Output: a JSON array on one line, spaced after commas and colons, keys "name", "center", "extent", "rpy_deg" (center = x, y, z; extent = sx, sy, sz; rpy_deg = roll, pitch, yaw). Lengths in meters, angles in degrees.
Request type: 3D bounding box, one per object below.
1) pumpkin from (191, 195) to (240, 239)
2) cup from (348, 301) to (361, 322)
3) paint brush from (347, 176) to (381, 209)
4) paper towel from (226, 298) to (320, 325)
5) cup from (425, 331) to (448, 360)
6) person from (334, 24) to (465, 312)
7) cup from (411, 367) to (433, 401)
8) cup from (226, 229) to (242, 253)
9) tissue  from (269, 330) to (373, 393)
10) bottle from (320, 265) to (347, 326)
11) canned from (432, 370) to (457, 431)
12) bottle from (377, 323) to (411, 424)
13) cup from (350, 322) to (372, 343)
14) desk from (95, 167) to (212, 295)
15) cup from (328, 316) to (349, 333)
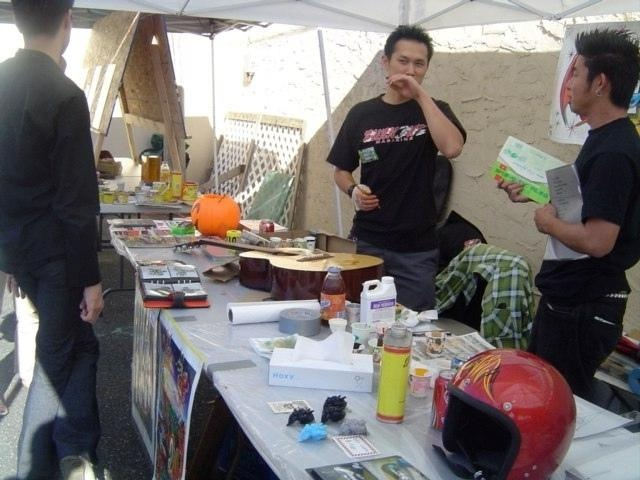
[{"name": "pumpkin", "center": [-0.738, -0.190, 3.298], "extent": [0.298, 0.294, 0.322], "rpy_deg": [-4, 15, -26]}, {"name": "cup", "center": [0.152, 0.326, 2.137], "extent": [0.067, 0.075, 0.068], "rpy_deg": [-1, 3, 0]}, {"name": "paint brush", "center": [0.234, -0.298, 2.921], "extent": [0.241, 0.064, 0.128], "rpy_deg": [41, 21, 28]}, {"name": "paper towel", "center": [-0.248, 0.312, 2.085], "extent": [0.344, 0.088, 0.097], "rpy_deg": [-5, 22, -22]}, {"name": "cup", "center": [0.488, 0.440, 1.968], "extent": [0.089, 0.081, 0.086], "rpy_deg": [1, 13, 0]}, {"name": "person", "center": [0.473, -0.448, 3.063], "extent": [0.663, 1.833, 0.707], "rpy_deg": [0, 5, -10]}, {"name": "cup", "center": [0.363, 0.519, 1.708], "extent": [0.077, 0.076, 0.077], "rpy_deg": [0, 6, 0]}, {"name": "cup", "center": [-0.546, -0.015, 2.977], "extent": [0.088, 0.094, 0.083], "rpy_deg": [0, 2, 0]}, {"name": "tissue ", "center": [0.005, 0.423, 1.677], "extent": [0.372, 0.195, 0.127], "rpy_deg": [2, 8, -2]}, {"name": "bottle", "center": [0.055, 0.249, 2.095], "extent": [0.123, 0.231, 0.131], "rpy_deg": [2, 4, 0]}, {"name": "canned", "center": [0.381, 0.506, 1.501], "extent": [0.058, 0.102, 0.182], "rpy_deg": [2, 33, 12]}, {"name": "bottle", "center": [0.229, 0.416, 1.513], "extent": [0.123, 0.294, 0.121], "rpy_deg": [2, 5, 0]}, {"name": "cup", "center": [0.170, 0.382, 1.943], "extent": [0.083, 0.061, 0.066], "rpy_deg": [0, 4, 3]}, {"name": "desk", "center": [-1.456, -0.098, 3.986], "extent": [1.384, 0.849, 1.371], "rpy_deg": [-4, 15, -19]}, {"name": "cup", "center": [0.072, 0.328, 1.877], "extent": [0.066, 0.043, 0.067], "rpy_deg": [-1, 11, 0]}]
